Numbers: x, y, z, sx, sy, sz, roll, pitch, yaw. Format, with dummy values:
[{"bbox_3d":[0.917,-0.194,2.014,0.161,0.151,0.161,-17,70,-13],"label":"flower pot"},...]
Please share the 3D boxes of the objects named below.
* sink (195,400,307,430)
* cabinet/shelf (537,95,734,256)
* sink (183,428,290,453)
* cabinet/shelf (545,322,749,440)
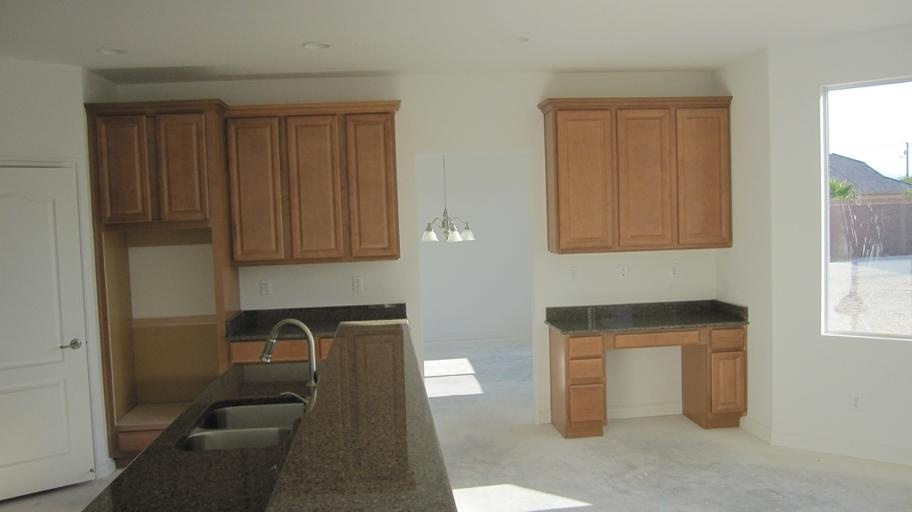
[{"bbox_3d":[-1.628,1.279,5.331,0.803,0.193,0.205,-4,4,-13],"label":"sink"},{"bbox_3d":[2.122,-0.955,7.613,2.330,1.542,0.683,0,-2,-3],"label":"cabinet/shelf"},{"bbox_3d":[-1.680,1.391,5.133,0.769,0.141,0.192,-3,4,-10],"label":"sink"},{"bbox_3d":[2.164,1.431,7.617,1.626,0.767,0.516,-1,2,-6],"label":"cabinet/shelf"}]
